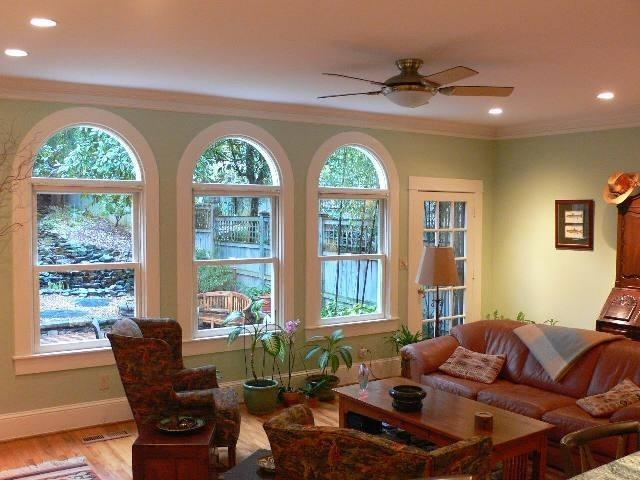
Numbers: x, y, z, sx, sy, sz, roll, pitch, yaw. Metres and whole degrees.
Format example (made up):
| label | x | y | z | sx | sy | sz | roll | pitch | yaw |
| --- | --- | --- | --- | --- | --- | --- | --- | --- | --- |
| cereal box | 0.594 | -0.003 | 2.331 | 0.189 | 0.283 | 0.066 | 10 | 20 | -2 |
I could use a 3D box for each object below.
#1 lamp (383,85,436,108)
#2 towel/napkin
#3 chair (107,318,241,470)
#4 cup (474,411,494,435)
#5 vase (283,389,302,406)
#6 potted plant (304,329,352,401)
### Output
| label | x | y | z | sx | sy | sz | roll | pitch | yaw |
| --- | --- | --- | --- | --- | --- | --- | --- | --- | --- |
| lamp | 0.670 | -1.093 | 3.641 | 0.372 | 0.075 | 0.328 | -1 | 1 | 4 |
| towel/napkin | 2.264 | 0.945 | 4.422 | 0.576 | 0.168 | 0.572 | -20 | 16 | -12 |
| chair | -1.233 | 1.200 | 4.294 | 1.340 | 1.366 | 1.102 | -1 | 2 | -14 |
| cup | 1.110 | 1.234 | 3.224 | 0.141 | 0.120 | 0.121 | 0 | -3 | 2 |
| vase | -0.297 | 1.665 | 5.083 | 0.167 | 0.099 | 0.161 | -1 | 2 | -38 |
| potted plant | 0.095 | 1.407 | 5.482 | 0.562 | 0.520 | 0.770 | -1 | 1 | 3 |
